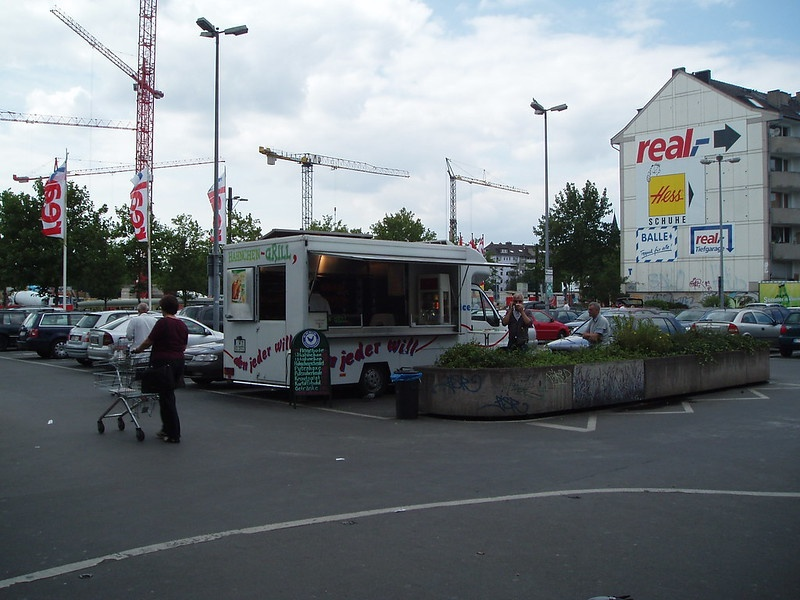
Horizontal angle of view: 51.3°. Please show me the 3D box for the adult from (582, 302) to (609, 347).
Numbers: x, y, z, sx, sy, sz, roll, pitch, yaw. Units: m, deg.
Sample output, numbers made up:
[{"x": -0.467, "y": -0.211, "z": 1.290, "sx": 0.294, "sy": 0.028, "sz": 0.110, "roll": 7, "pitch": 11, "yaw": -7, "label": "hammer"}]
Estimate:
[{"x": 4.080, "y": 0.449, "z": 17.053, "sx": 0.667, "sy": 1.196, "sz": 0.910, "roll": 0, "pitch": 0, "yaw": 7, "label": "adult"}]

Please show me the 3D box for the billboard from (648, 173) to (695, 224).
[{"x": 21.208, "y": -8.003, "z": 64.826, "sx": 0.477, "sy": 4.453, "sz": 3.978, "roll": -2, "pitch": 0, "yaw": -36, "label": "billboard"}]

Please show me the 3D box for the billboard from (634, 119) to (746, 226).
[{"x": 22.304, "y": -9.786, "z": 63.333, "sx": 1.052, "sy": 9.017, "sz": 9.774, "roll": 2, "pitch": -3, "yaw": -38, "label": "billboard"}]

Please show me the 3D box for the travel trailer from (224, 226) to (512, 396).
[{"x": -0.846, "y": 0.163, "z": 17.736, "sx": 4.693, "sy": 2.665, "sz": 3.449, "roll": 0, "pitch": -2, "yaw": -37, "label": "travel trailer"}]

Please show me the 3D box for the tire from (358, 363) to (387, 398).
[{"x": -0.578, "y": 1.614, "z": 17.061, "sx": 0.179, "sy": 0.535, "sz": 0.521, "roll": 11, "pitch": -19, "yaw": 36, "label": "tire"}]

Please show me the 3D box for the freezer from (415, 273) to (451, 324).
[{"x": 0.722, "y": -0.013, "z": 18.187, "sx": 0.633, "sy": 1.122, "sz": 0.355, "roll": -3, "pitch": -3, "yaw": 39, "label": "freezer"}]

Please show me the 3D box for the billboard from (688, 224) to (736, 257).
[{"x": 23.102, "y": -4.494, "z": 61.522, "sx": 3.283, "sy": 2.641, "sz": 0.373, "roll": 1, "pitch": 5, "yaw": 35, "label": "billboard"}]

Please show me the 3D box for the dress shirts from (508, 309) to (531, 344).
[{"x": 2.260, "y": 0.505, "z": 15.873, "sx": 0.444, "sy": 0.684, "sz": 0.321, "roll": 0, "pitch": -1, "yaw": -7, "label": "dress shirts"}]

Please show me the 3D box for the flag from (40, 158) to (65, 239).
[{"x": -15.307, "y": -4.510, "z": 37.054, "sx": 0.900, "sy": 3.178, "sz": 2.058, "roll": 0, "pitch": -1, "yaw": -25, "label": "flag"}]

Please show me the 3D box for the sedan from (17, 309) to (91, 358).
[{"x": -11.522, "y": 1.101, "z": 28.725, "sx": 2.877, "sy": 1.211, "sz": 1.408, "roll": -2, "pitch": 3, "yaw": -33, "label": "sedan"}]

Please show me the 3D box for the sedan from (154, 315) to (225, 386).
[{"x": -5.487, "y": 0.858, "z": 20.334, "sx": 1.370, "sy": 1.320, "sz": 3.330, "roll": 9, "pitch": 9, "yaw": -22, "label": "sedan"}]

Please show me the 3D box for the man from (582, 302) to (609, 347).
[{"x": 4.033, "y": 0.497, "z": 17.094, "sx": 0.667, "sy": 1.196, "sz": 0.910, "roll": 0, "pitch": 0, "yaw": 7, "label": "man"}]

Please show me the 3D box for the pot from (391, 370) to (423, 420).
[{"x": -0.056, "y": 1.604, "z": 14.441, "sx": 0.691, "sy": 0.954, "sz": 0.600, "roll": -6, "pitch": -6, "yaw": 43, "label": "pot"}]

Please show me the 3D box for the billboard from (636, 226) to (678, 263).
[{"x": 20.428, "y": -4.530, "z": 65.932, "sx": 0.142, "sy": 2.541, "sz": 2.818, "roll": 0, "pitch": 1, "yaw": -33, "label": "billboard"}]

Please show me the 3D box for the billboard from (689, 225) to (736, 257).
[{"x": 23.120, "y": -4.440, "z": 61.497, "sx": 3.148, "sy": 2.518, "sz": 0.332, "roll": 3, "pitch": 6, "yaw": 37, "label": "billboard"}]

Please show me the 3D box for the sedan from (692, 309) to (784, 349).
[{"x": 11.641, "y": 0.924, "z": 28.472, "sx": 2.463, "sy": 1.312, "sz": 2.612, "roll": -1, "pitch": -2, "yaw": 21, "label": "sedan"}]

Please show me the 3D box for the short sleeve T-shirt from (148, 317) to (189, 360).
[{"x": -3.467, "y": 0.573, "z": 12.453, "sx": 0.714, "sy": 0.733, "sz": 0.390, "roll": 2, "pitch": 1, "yaw": -40, "label": "short sleeve T-shirt"}]

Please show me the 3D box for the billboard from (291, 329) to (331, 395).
[{"x": -1.660, "y": 1.154, "z": 15.607, "sx": 0.728, "sy": 1.379, "sz": 0.141, "roll": 1, "pitch": 18, "yaw": -1, "label": "billboard"}]

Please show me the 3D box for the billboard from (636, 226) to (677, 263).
[{"x": 20.391, "y": -4.524, "z": 65.981, "sx": 0.143, "sy": 2.530, "sz": 2.802, "roll": 1, "pitch": 1, "yaw": -33, "label": "billboard"}]

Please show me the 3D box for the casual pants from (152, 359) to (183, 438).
[{"x": -3.398, "y": 1.466, "z": 12.237, "sx": 0.419, "sy": 1.193, "sz": 0.291, "roll": 0, "pitch": -1, "yaw": -15, "label": "casual pants"}]

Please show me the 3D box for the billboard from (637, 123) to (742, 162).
[{"x": 22.220, "y": -12.065, "z": 63.272, "sx": 0.126, "sy": 2.059, "sz": 6.399, "roll": -7, "pitch": 3, "yaw": -38, "label": "billboard"}]
